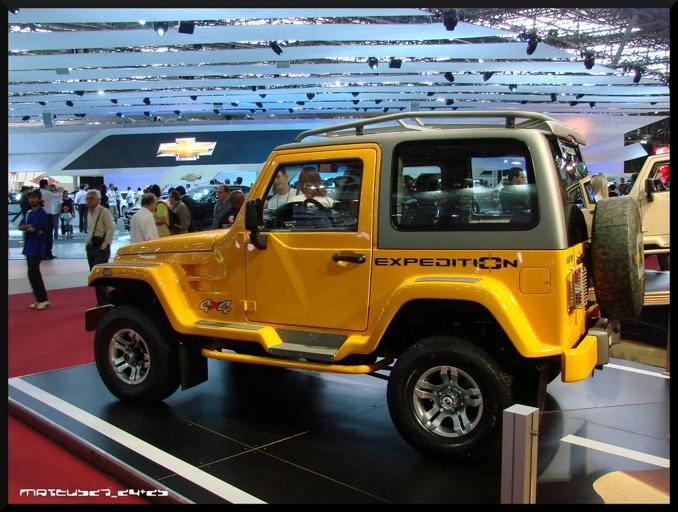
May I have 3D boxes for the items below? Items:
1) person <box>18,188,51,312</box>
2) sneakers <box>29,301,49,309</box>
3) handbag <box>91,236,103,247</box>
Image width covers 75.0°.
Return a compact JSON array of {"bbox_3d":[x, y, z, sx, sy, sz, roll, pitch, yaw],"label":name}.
[{"bbox_3d":[-5.962,-0.182,8.751,0.490,2.282,1.450,-7,11,-34],"label":"person"},{"bbox_3d":[-5.726,0.933,8.436,0.322,0.146,0.272,-3,8,-17],"label":"sneakers"},{"bbox_3d":[-4.248,-0.257,7.791,0.226,0.158,0.117,7,8,-11],"label":"handbag"}]
